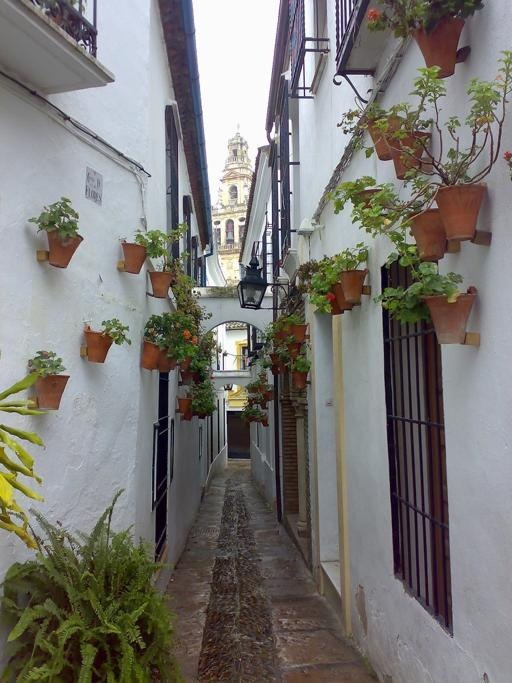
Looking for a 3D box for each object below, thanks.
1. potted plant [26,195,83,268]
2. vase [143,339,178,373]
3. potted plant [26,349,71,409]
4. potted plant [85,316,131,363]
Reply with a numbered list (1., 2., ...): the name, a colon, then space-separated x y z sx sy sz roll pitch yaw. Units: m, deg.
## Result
1. potted plant: -1.090 -0.599 2.858 0.224 0.374 0.352 -2 -1 -5
2. vase: -0.841 0.115 4.403 0.225 0.177 0.238 32 -11 -9
3. potted plant: -1.078 0.209 2.758 0.177 0.294 0.200 -1 -11 1
4. potted plant: -0.973 -0.001 3.369 0.242 0.301 0.291 6 -8 -9
